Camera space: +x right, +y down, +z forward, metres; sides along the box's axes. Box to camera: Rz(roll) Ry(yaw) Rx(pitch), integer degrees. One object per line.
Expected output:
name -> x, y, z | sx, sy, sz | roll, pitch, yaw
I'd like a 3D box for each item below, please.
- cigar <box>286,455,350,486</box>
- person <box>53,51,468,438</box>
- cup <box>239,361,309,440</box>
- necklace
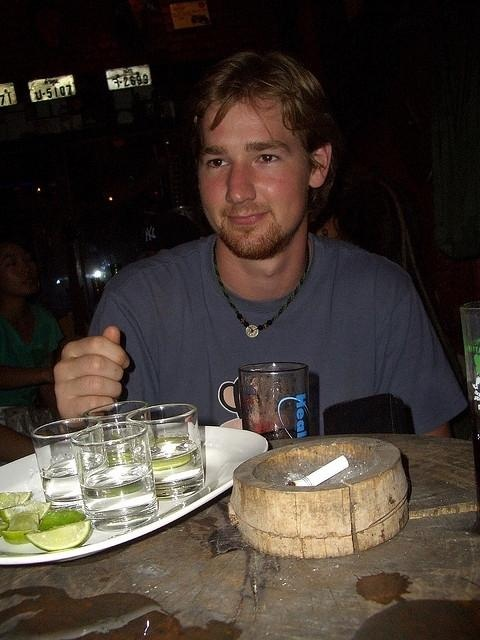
cigar -> 0.113, 0.213, 0.713 | 0.074, 0.035, 0.082 | -2, 6, -35
person -> 0.067, -0.281, 1.867 | 1.172, 1.462, 0.683 | -8, 6, -17
cup -> 0.085, 0.178, 1.171 | 0.134, 0.161, 0.145 | 1, 7, 0
necklace -> 0.092, -0.119, 1.892 | 0.366, 0.341, 0.276 | -6, 5, 2
